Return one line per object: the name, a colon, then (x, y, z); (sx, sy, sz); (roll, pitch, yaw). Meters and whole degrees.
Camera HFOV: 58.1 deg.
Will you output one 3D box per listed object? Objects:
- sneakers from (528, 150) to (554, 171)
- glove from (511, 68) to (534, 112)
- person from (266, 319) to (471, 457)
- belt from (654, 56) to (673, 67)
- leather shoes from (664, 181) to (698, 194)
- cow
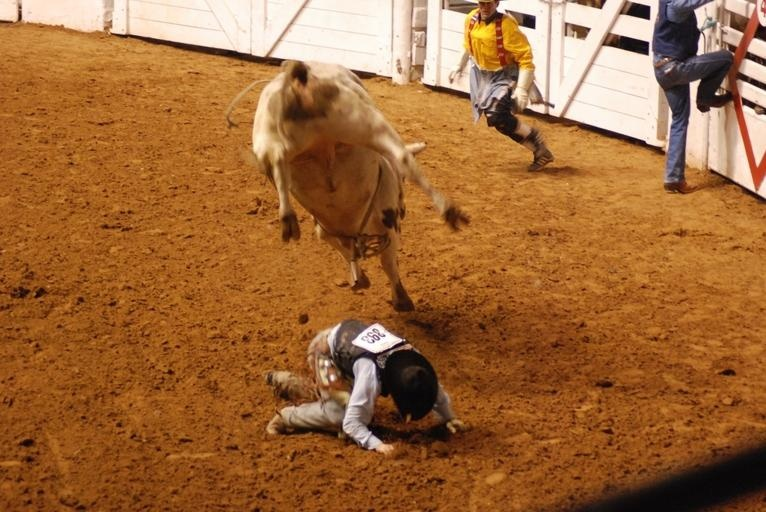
sneakers: (2.143, -1.290, 9.336); (0.179, 0.196, 0.452); (-37, 1, -17)
glove: (1.839, -2.191, 9.068); (0.230, 0.511, 0.392); (10, 29, 7)
person: (-0.356, 1.015, 5.825); (1.120, 0.931, 2.046); (-15, 16, -42)
belt: (3.381, -2.350, 8.367); (0.084, 0.141, 0.252); (-6, 29, -20)
leather shoes: (3.676, -0.836, 8.596); (0.415, 0.180, 0.141); (-2, 21, 0)
cow: (-0.378, -0.600, 6.253); (1.361, 2.543, 1.258); (-22, 51, 9)
